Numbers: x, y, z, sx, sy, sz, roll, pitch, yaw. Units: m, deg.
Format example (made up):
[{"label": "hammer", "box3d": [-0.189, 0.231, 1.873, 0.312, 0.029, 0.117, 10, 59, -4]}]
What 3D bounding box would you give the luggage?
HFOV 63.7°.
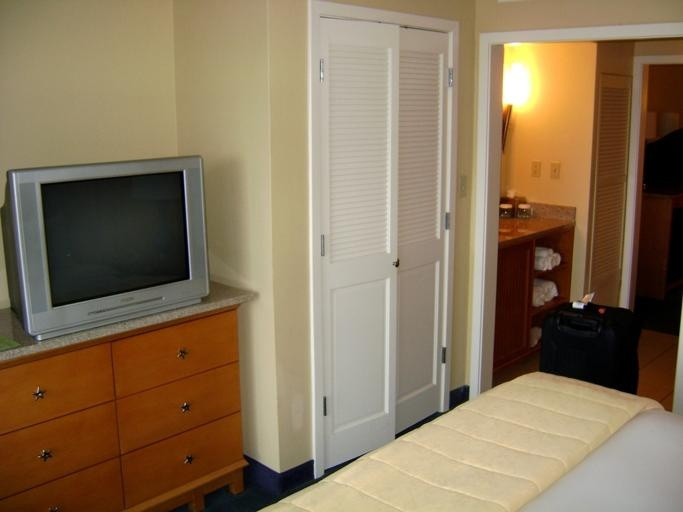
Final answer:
[{"label": "luggage", "box3d": [1.581, 0.554, 3.622, 0.501, 0.756, 0.462, 9, 41, 21]}]
